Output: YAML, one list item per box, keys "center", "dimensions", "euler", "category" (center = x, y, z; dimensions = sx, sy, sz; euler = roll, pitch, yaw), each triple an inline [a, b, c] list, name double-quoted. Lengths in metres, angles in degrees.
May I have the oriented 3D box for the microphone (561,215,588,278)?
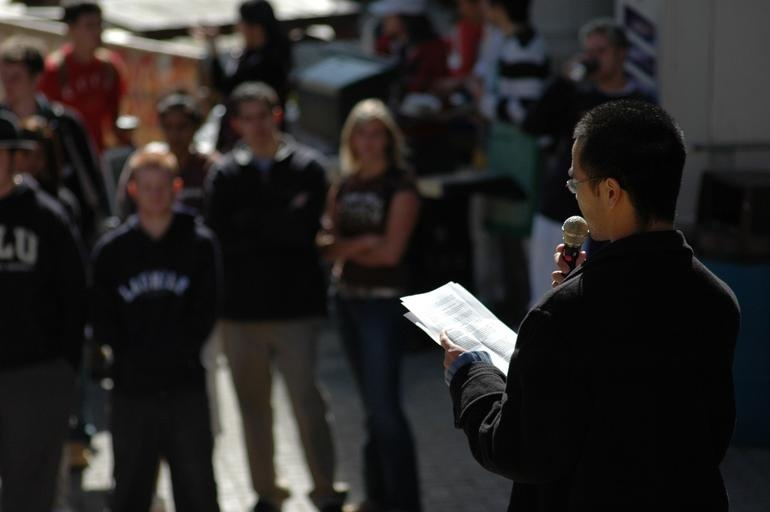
- center: [0.849, -0.057, 6.043]
  dimensions: [0.113, 0.247, 0.258]
  euler: [0, 13, 8]
  category: "microphone"
